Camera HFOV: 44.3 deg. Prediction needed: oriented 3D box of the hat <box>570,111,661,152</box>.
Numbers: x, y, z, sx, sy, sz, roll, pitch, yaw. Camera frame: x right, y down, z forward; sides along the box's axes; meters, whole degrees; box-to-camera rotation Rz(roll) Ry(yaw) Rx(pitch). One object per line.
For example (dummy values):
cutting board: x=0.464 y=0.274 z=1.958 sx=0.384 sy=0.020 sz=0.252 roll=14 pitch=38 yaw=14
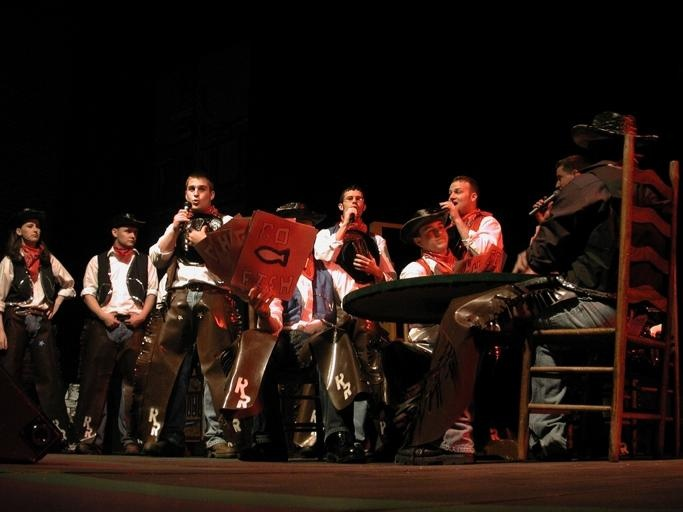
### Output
hat: x=1.391 y=-0.651 z=4.219 sx=0.400 sy=0.135 sz=0.432 roll=2 pitch=6 yaw=39

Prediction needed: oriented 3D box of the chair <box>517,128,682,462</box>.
chair: x=1.336 y=0.188 z=4.360 sx=0.887 sy=1.673 sz=1.033 roll=-2 pitch=-12 yaw=11

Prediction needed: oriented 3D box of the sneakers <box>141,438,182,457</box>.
sneakers: x=-1.109 y=1.151 z=5.060 sx=0.176 sy=0.099 sz=0.277 roll=-5 pitch=-12 yaw=22

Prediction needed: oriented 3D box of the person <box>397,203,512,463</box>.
person: x=0.535 y=0.292 z=4.265 sx=0.583 sy=1.450 sz=1.292 roll=-2 pitch=-12 yaw=10

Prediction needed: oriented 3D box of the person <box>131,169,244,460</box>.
person: x=-0.902 y=0.321 z=5.084 sx=0.671 sy=1.724 sz=0.343 roll=-9 pitch=-15 yaw=35

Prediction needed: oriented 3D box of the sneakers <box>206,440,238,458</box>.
sneakers: x=-0.757 y=1.203 z=5.190 sx=0.221 sy=0.076 sz=0.091 roll=-15 pitch=-22 yaw=39

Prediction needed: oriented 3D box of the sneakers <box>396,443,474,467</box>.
sneakers: x=0.420 y=0.921 z=3.797 sx=0.304 sy=0.104 sz=0.125 roll=4 pitch=-21 yaw=-3

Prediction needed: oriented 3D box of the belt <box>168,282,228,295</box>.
belt: x=-0.859 y=0.196 z=5.054 sx=0.188 sy=0.041 sz=0.148 roll=-4 pitch=-9 yaw=3

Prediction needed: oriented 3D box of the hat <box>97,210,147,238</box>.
hat: x=-2.028 y=-0.280 z=7.620 sx=0.515 sy=0.176 sz=0.367 roll=0 pitch=-3 yaw=-1

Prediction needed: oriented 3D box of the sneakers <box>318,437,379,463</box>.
sneakers: x=0.017 y=0.980 z=4.256 sx=0.147 sy=0.139 sz=0.333 roll=7 pitch=-18 yaw=-31
